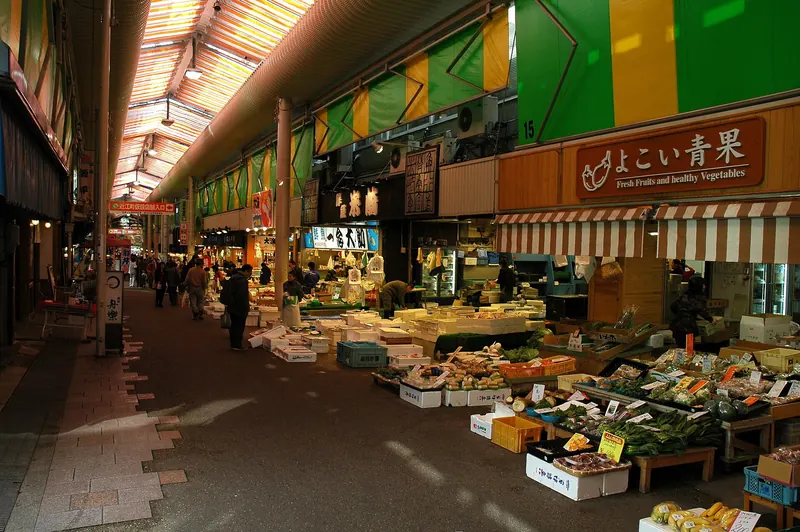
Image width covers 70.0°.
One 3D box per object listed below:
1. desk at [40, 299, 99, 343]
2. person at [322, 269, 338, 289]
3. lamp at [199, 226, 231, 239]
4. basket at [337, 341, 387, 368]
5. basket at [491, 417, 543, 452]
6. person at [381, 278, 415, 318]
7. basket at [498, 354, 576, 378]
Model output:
[{"bbox_3d":[-7.933,1.343,13.640,1.233,0.655,1.072,4,-12,-19],"label":"desk"},{"bbox_3d":[-2.325,0.458,19.299,0.614,0.845,0.699,1,0,-15],"label":"person"},{"bbox_3d":[-10.146,-1.828,31.045,3.926,0.521,0.320,-1,-7,44],"label":"lamp"},{"bbox_3d":[-0.739,1.838,11.779,0.658,0.266,0.631,2,1,-25],"label":"basket"},{"bbox_3d":[1.579,2.256,7.851,0.483,0.263,0.473,0,4,-37],"label":"basket"},{"bbox_3d":[-0.100,0.906,15.681,0.921,1.021,0.992,3,2,41],"label":"person"},{"bbox_3d":[2.358,1.730,9.727,0.924,0.135,0.488,-4,3,-24],"label":"basket"}]
